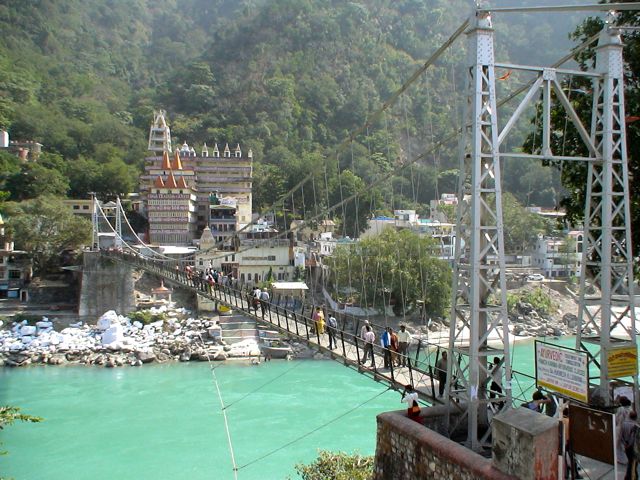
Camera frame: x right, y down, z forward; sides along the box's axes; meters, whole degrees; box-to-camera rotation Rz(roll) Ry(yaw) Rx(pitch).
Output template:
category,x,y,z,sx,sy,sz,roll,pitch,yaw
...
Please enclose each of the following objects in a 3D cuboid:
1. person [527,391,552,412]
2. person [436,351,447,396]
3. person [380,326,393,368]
category,x,y,z,sx,sy,sz,roll,pitch,yaw
person,8.151,6.056,28.858,0.776,0.857,2.205,-1,-2,23
person,4.776,5.200,30.348,0.414,1.781,1.529,-1,-2,8
person,2.776,4.459,31.921,0.417,1.638,1.296,-1,-2,5
